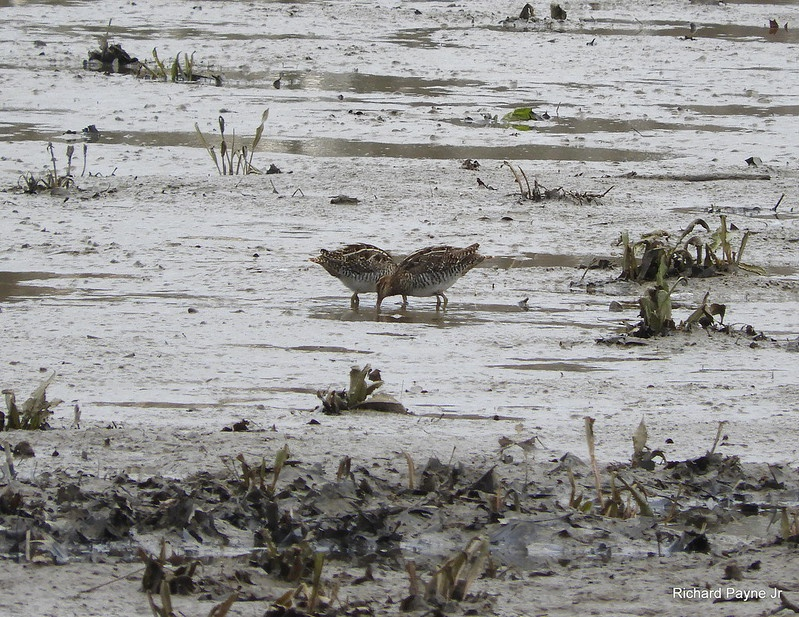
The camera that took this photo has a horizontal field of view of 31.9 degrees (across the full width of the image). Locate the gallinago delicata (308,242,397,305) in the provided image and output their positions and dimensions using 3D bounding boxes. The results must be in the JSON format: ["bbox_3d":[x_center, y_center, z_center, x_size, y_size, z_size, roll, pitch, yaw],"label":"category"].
[{"bbox_3d":[-0.368,-0.304,12.358,0.909,0.484,0.375,13,-6,-26],"label":"gallinago delicata"}]

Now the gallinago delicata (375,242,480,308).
[{"bbox_3d":[0.270,-0.277,12.258,0.937,0.587,0.314,1,14,-2],"label":"gallinago delicata"}]
